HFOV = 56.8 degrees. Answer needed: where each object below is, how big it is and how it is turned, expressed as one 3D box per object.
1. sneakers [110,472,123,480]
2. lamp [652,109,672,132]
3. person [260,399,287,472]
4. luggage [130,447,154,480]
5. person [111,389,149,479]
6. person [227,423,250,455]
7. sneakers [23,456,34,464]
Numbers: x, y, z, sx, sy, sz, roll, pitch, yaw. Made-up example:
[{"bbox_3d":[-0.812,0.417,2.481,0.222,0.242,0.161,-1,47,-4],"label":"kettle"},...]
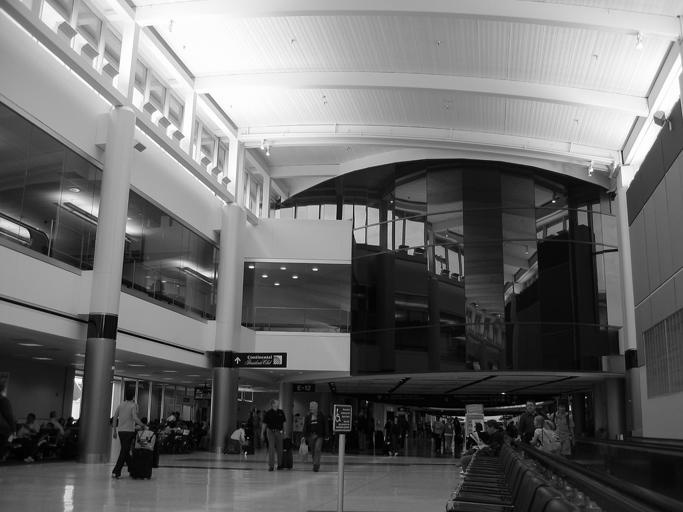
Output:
[{"bbox_3d":[-4.665,4.532,12.997,0.249,0.164,0.191,-6,-13,16],"label":"sneakers"},{"bbox_3d":[9.681,-4.189,19.079,0.691,0.402,0.620,25,-17,42],"label":"lamp"},{"bbox_3d":[-1.726,4.662,16.567,0.610,1.747,0.387,0,-6,-21],"label":"person"},{"bbox_3d":[-4.147,4.258,12.991,0.451,0.605,0.273,2,-18,-9],"label":"luggage"},{"bbox_3d":[-4.434,3.650,13.165,0.642,1.746,0.589,12,-13,-37],"label":"person"},{"bbox_3d":[-3.748,6.896,23.918,0.753,1.154,0.648,19,-21,-19],"label":"person"},{"bbox_3d":[-8.276,5.407,16.729,0.246,0.108,0.182,-3,-8,26],"label":"sneakers"}]
